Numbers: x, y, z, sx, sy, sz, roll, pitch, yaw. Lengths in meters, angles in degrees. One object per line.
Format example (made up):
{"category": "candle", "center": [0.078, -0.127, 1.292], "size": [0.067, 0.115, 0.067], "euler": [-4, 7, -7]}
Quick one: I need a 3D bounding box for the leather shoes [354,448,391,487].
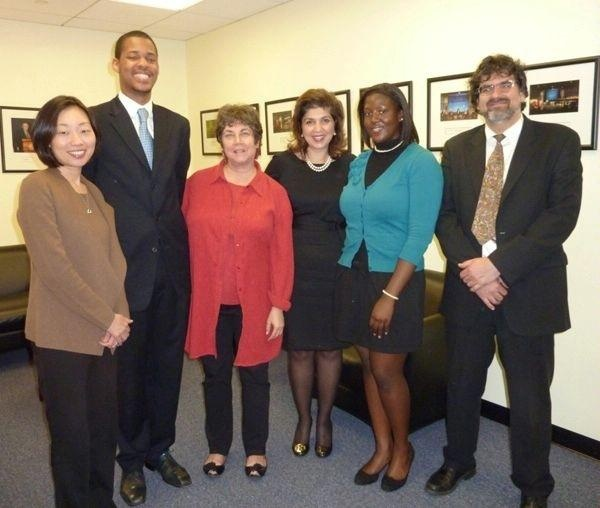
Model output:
{"category": "leather shoes", "center": [0.386, 1.195, 2.837], "size": [0.227, 0.041, 0.102], "euler": [-42, 41, -25]}

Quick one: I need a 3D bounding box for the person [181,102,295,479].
{"category": "person", "center": [-0.324, 0.229, 2.806], "size": [0.587, 2.007, 0.343], "euler": [-1, 13, -1]}

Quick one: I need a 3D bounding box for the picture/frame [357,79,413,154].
{"category": "picture/frame", "center": [0.437, -0.708, 2.651], "size": [0.326, 0.319, 0.237], "euler": [4, 14, 19]}

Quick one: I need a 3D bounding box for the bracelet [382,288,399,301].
{"category": "bracelet", "center": [0.424, 0.194, 2.506], "size": [0.088, 0.048, 0.043], "euler": [10, 17, 38]}

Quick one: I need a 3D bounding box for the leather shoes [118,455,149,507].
{"category": "leather shoes", "center": [-0.883, 1.231, 2.784], "size": [0.088, 0.104, 0.246], "euler": [-1, 11, -24]}

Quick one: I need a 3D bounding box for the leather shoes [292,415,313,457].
{"category": "leather shoes", "center": [0.014, 1.089, 3.062], "size": [0.083, 0.108, 0.270], "euler": [1, 52, 5]}

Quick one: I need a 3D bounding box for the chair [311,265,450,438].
{"category": "chair", "center": [0.564, 0.522, 3.568], "size": [0.753, 1.140, 0.924], "euler": [3, 1, -33]}

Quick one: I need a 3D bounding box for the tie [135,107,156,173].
{"category": "tie", "center": [-0.763, -0.580, 2.580], "size": [0.070, 0.298, 0.169], "euler": [-4, 13, -15]}

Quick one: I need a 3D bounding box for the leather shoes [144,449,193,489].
{"category": "leather shoes", "center": [-0.737, 1.186, 2.937], "size": [0.317, 0.149, 0.121], "euler": [14, 11, 34]}

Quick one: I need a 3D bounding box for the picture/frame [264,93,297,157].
{"category": "picture/frame", "center": [-0.159, -1.188, 4.786], "size": [0.431, 0.456, 0.021], "euler": [7, 13, 43]}

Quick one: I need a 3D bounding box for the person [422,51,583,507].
{"category": "person", "center": [0.988, 0.162, 2.575], "size": [0.629, 2.208, 0.489], "euler": [3, 13, 16]}

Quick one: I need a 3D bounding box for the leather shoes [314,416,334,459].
{"category": "leather shoes", "center": [0.136, 1.112, 3.108], "size": [0.099, 0.086, 0.309], "euler": [-10, 11, 4]}

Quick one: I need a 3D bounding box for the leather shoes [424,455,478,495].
{"category": "leather shoes", "center": [0.793, 1.179, 2.817], "size": [0.304, 0.161, 0.126], "euler": [-21, 34, -20]}

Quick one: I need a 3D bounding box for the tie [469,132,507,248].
{"category": "tie", "center": [0.909, -0.308, 2.490], "size": [0.119, 0.514, 0.164], "euler": [7, 15, 31]}
